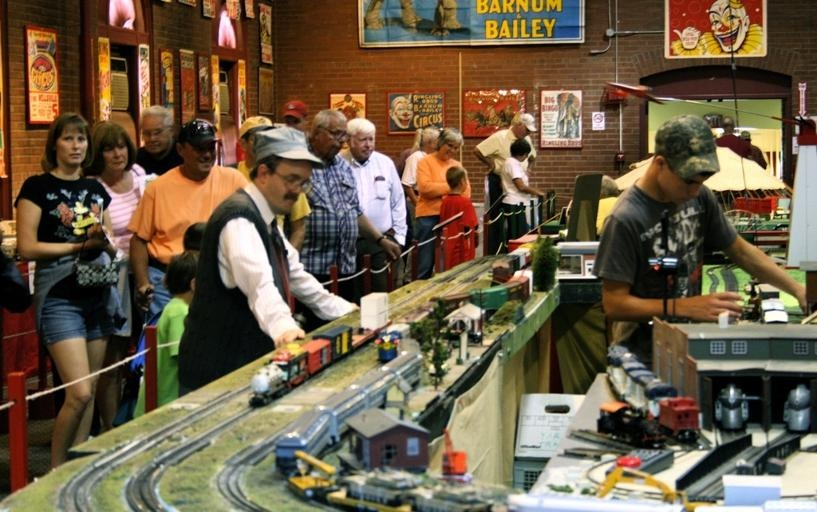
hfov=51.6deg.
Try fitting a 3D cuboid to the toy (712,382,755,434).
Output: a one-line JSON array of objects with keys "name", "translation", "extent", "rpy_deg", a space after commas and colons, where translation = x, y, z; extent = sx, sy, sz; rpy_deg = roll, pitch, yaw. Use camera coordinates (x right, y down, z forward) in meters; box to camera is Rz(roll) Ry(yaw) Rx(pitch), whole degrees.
[{"name": "toy", "translation": [1.785, 0.821, 4.588], "extent": [0.213, 0.255, 0.083], "rpy_deg": [-2, 6, -7]}]

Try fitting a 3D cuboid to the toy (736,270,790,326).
[{"name": "toy", "translation": [2.357, 0.297, 5.641], "extent": [0.247, 0.305, 0.843], "rpy_deg": [-1, 2, 18]}]

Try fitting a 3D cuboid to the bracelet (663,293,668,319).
[{"name": "bracelet", "translation": [1.563, 0.302, 5.090], "extent": [0.030, 0.122, 0.116], "rpy_deg": [0, 7, 15]}]

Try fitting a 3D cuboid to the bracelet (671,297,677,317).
[{"name": "bracelet", "translation": [1.601, 0.313, 5.074], "extent": [0.038, 0.095, 0.105], "rpy_deg": [0, 7, 18]}]

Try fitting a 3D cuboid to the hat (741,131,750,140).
[{"name": "hat", "translation": [6.511, -2.314, 16.152], "extent": [0.228, 0.136, 0.363], "rpy_deg": [-2, 11, 11]}]

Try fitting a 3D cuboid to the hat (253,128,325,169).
[{"name": "hat", "translation": [-0.738, -0.638, 4.921], "extent": [0.410, 0.207, 0.344], "rpy_deg": [-3, -1, -22]}]

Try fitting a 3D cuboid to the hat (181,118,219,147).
[{"name": "hat", "translation": [-1.670, -0.949, 6.577], "extent": [0.220, 0.148, 0.290], "rpy_deg": [-14, 7, -31]}]

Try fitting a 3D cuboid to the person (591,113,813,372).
[{"name": "person", "translation": [1.803, -0.137, 5.367], "extent": [1.169, 1.474, 0.771], "rpy_deg": [-6, 8, -34]}]

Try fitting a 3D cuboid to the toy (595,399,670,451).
[{"name": "toy", "translation": [1.192, 0.913, 4.492], "extent": [0.163, 0.194, 0.497], "rpy_deg": [7, -3, -20]}]
